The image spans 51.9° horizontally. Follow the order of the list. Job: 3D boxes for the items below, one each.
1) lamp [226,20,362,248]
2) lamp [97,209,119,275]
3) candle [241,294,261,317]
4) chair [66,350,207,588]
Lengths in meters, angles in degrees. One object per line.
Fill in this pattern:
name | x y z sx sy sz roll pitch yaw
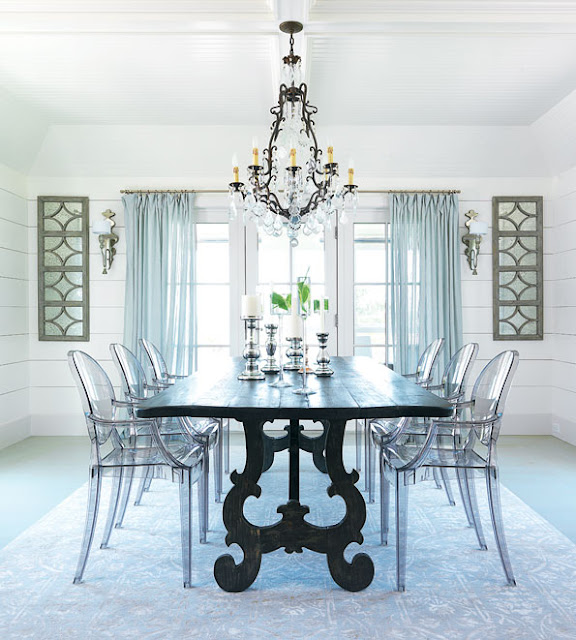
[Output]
lamp | -0.057 -1.074 4.050 1.037 1.115 2.310 0 3 7
lamp | -1.508 -0.665 4.939 0.173 0.552 0.252 -2 4 -18
candle | -0.180 -0.069 2.866 0.088 0.105 0.096 2 3 23
chair | -0.752 0.615 3.072 0.804 1.499 0.832 0 1 -2
